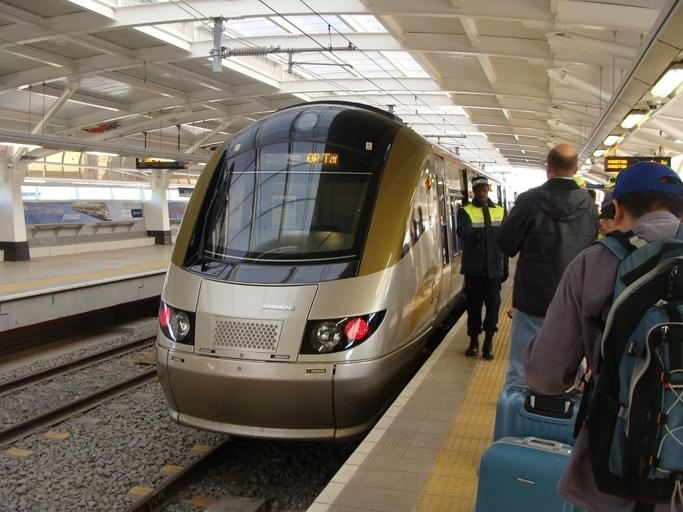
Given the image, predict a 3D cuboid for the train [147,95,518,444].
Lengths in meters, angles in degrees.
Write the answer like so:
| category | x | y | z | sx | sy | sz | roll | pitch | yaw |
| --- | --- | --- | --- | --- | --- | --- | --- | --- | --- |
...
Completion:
| category | x | y | z | sx | sy | sz | roll | pitch | yaw |
| --- | --- | --- | --- | --- | --- | --- | --- | --- | --- |
| train | -0.485 | 0.046 | 5.136 | 2.937 | 3.417 | 1.809 | -2 | 8 | -15 |
